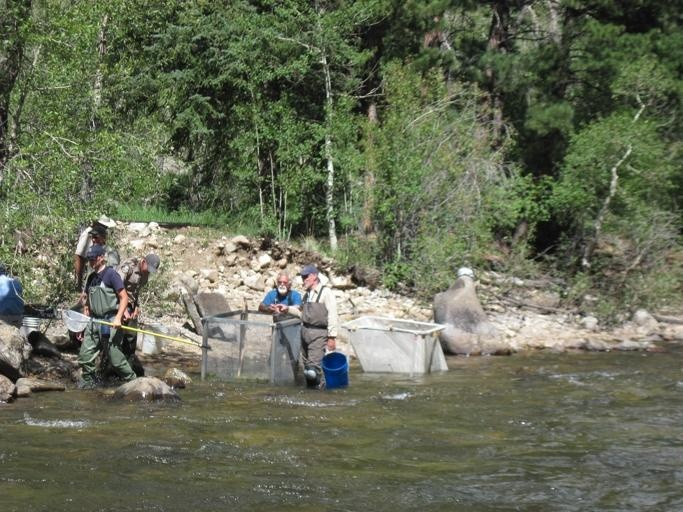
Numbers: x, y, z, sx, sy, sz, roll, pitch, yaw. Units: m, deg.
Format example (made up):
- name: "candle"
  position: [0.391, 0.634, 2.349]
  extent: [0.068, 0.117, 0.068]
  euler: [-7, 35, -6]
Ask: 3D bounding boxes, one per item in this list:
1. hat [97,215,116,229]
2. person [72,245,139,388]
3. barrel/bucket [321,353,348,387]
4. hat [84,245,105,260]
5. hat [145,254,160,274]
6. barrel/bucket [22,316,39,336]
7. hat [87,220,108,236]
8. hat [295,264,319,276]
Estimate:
- name: "hat"
  position: [-4.867, -0.664, 19.492]
  extent: [0.413, 0.117, 0.411]
  euler: [29, 4, 3]
- name: "person"
  position: [-4.660, 1.194, 18.523]
  extent: [1.212, 2.791, 0.793]
  euler: [-1, -1, 41]
- name: "barrel/bucket"
  position: [-0.125, 2.375, 19.776]
  extent: [0.650, 0.713, 0.668]
  euler: [-1, 42, 1]
- name: "hat"
  position: [-4.782, -0.066, 18.286]
  extent: [0.344, 0.185, 0.239]
  euler: [-3, 9, -4]
- name: "hat"
  position: [-3.773, 0.137, 18.873]
  extent: [0.248, 0.193, 0.373]
  euler: [6, 40, -43]
- name: "barrel/bucket"
  position: [-6.376, 1.433, 19.468]
  extent: [0.369, 0.332, 0.364]
  euler: [1, 2, 0]
- name: "hat"
  position: [-4.893, -0.554, 18.752]
  extent: [0.420, 0.209, 0.296]
  euler: [22, 16, 26]
- name: "hat"
  position: [-0.680, 0.273, 19.546]
  extent: [0.390, 0.210, 0.260]
  euler: [10, -12, -20]
